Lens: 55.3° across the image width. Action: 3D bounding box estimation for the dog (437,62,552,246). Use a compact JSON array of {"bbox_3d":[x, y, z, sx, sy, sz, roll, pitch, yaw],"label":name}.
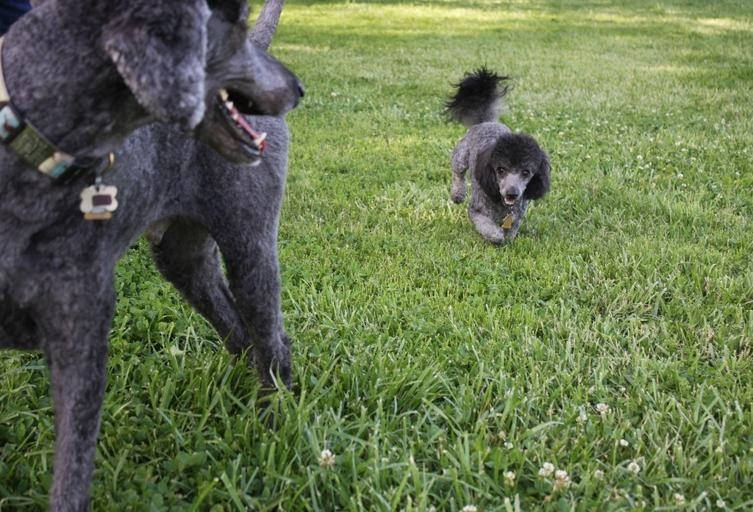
[{"bbox_3d":[1.035,-1.044,6.868,0.796,1.179,1.940,-1,43,-3],"label":"dog"}]
